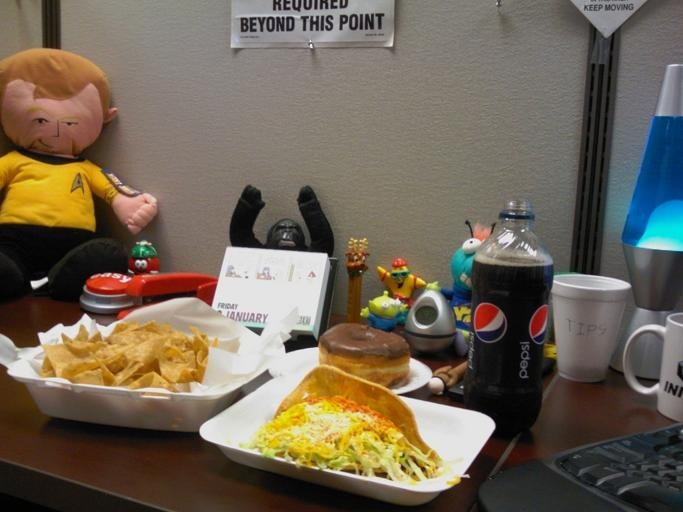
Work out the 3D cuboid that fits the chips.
[{"bbox_3d":[-0.307,0.122,0.765,0.163,0.100,0.173,4,5,24],"label":"chips"}]
